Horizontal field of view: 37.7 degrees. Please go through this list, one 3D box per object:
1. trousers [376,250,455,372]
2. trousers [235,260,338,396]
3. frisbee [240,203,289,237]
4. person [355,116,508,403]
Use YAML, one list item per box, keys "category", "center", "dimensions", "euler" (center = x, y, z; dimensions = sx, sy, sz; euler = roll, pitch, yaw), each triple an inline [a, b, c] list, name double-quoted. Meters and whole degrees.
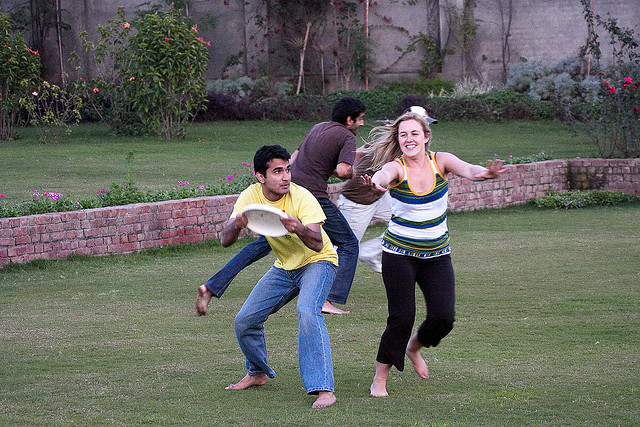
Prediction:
- category: "trousers"
  center: [1.157, 1.174, 11.410]
  dimensions: [0.960, 1.456, 0.321]
  euler: [-2, 7, 3]
- category: "trousers"
  center: [-0.415, 1.369, 11.334]
  dimensions: [1.174, 1.573, 0.579]
  euler: [-2, 7, 2]
- category: "frisbee"
  center: [-0.665, 0.085, 11.221]
  dimensions: [0.448, 0.430, 0.594]
  euler: [2, 1, -21]
- category: "person"
  center: [1.161, 0.529, 11.437]
  dimensions: [1.109, 3.429, 1.077]
  euler: [1, 7, 23]
